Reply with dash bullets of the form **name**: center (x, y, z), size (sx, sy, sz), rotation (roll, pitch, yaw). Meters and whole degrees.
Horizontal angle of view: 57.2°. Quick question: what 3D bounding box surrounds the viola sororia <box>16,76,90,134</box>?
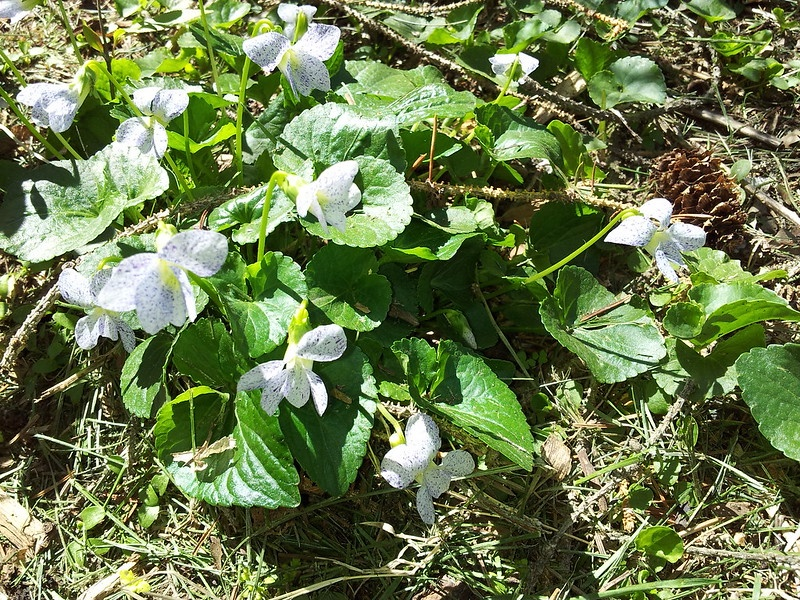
- **viola sororia**: center (-1.336, -0.742, 2.821), size (0.213, 0.197, 0.161), rotation (20, 42, 18)

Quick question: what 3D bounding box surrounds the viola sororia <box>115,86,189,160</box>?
- **viola sororia**: center (-0.937, -0.646, 2.797), size (0.213, 0.307, 0.218), rotation (22, 42, 20)

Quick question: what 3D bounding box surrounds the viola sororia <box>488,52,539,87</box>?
- **viola sororia**: center (0.499, -1.026, 3.250), size (0.206, 0.160, 0.170), rotation (15, 41, 12)

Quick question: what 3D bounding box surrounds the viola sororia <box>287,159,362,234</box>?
- **viola sororia**: center (-0.273, -0.317, 2.568), size (0.219, 0.344, 0.195), rotation (-19, 45, -25)
